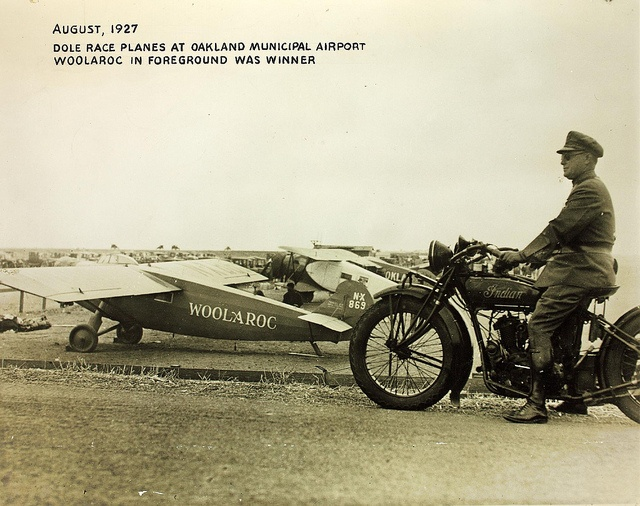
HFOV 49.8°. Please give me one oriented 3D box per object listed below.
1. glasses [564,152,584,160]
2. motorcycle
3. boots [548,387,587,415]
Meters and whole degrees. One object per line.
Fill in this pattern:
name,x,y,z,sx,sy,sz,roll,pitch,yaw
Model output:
glasses,2.175,-0.842,5.957,0.087,0.049,0.080,16,9,25
motorcycle,1.595,0.760,6.636,2.976,1.587,1.207,2,-4,6
boots,2.176,1.310,6.013,0.330,0.186,0.225,-1,-5,13
